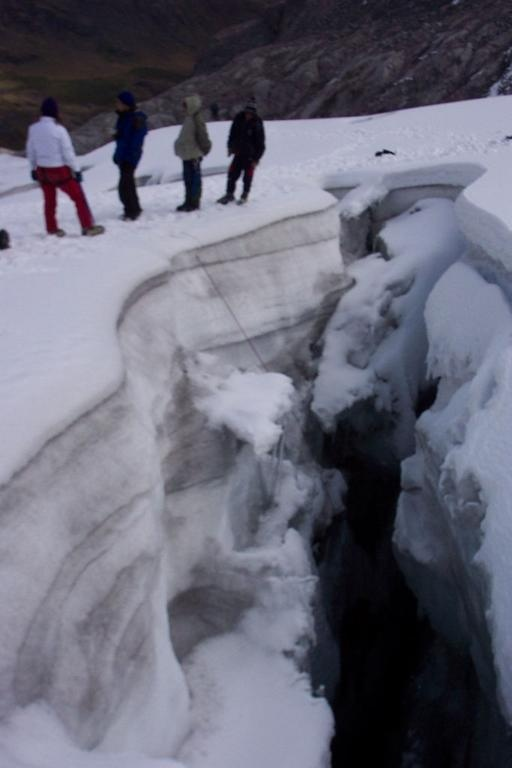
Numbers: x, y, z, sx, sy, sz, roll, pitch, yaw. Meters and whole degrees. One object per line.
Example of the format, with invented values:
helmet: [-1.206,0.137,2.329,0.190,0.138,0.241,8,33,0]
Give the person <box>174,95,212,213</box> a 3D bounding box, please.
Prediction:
person: [-0.563,-1.988,5.704,0.310,1.054,0.616,-5,33,-7]

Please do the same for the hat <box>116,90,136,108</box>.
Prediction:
hat: [-0.983,-2.150,4.955,0.106,0.139,0.159,-1,34,-1]

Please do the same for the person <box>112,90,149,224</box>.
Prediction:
person: [-1.011,-1.835,5.345,0.280,1.107,0.510,-7,33,-10]

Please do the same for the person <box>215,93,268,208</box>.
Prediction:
person: [-0.147,-2.111,5.987,0.437,1.034,0.795,-2,33,-3]

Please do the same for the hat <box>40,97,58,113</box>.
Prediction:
hat: [-1.454,-1.951,4.616,0.098,0.150,0.044,0,20,-4]

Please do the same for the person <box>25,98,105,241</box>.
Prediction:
person: [-1.470,-1.618,4.952,0.469,1.091,0.555,-5,33,-7]
